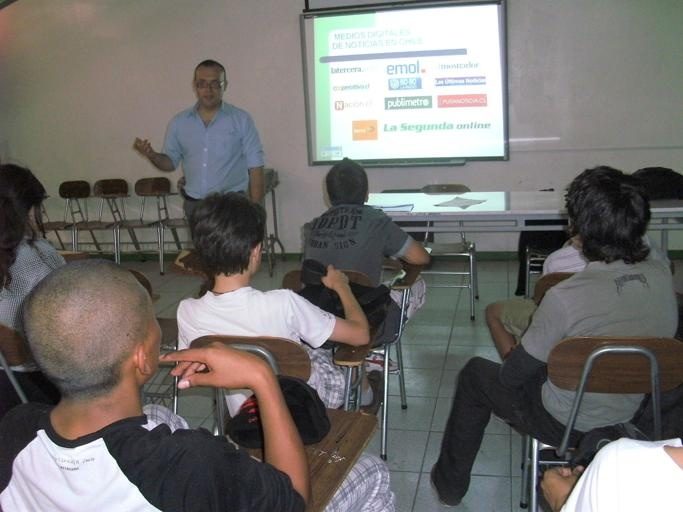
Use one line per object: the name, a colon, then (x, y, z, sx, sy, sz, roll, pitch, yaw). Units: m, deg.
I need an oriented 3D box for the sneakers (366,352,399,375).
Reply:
sneakers: (0.195, 0.581, 2.963, 0.230, 0.094, 0.129, 4, 6, 25)

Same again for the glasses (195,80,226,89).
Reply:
glasses: (-0.827, -1.077, 3.442, 0.182, 0.068, 0.108, -12, 16, -16)
